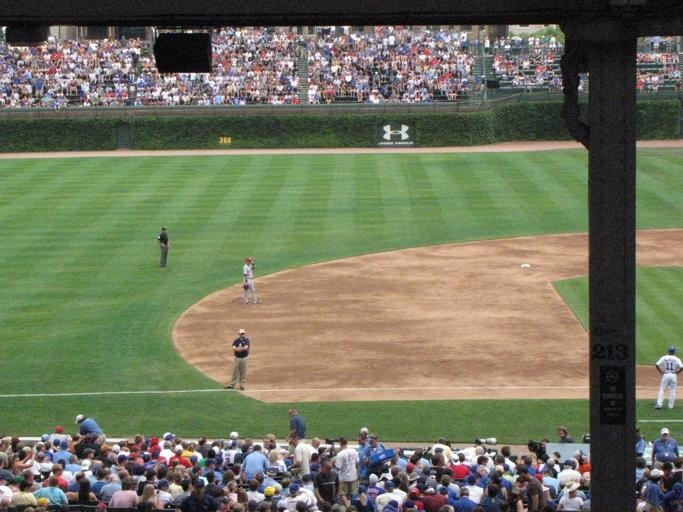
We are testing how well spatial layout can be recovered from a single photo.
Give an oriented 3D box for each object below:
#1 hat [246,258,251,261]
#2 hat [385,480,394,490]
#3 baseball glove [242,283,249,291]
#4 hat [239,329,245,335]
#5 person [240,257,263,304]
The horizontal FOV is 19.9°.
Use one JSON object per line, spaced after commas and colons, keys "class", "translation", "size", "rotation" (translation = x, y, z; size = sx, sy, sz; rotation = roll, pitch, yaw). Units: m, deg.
{"class": "hat", "translation": [-3.585, 0.129, 78.896], "size": [0.182, 0.073, 0.193], "rotation": [-1, 7, -3]}
{"class": "hat", "translation": [1.621, 7.291, 62.652], "size": [0.311, 0.388, 0.197], "rotation": [1, 18, -4]}
{"class": "baseball glove", "translation": [-3.709, 1.173, 78.344], "size": [0.225, 0.240, 0.254], "rotation": [-5, 27, -4]}
{"class": "hat", "translation": [-3.581, 2.801, 73.118], "size": [0.225, 0.092, 0.318], "rotation": [-1, 6, -11]}
{"class": "person", "translation": [-3.539, 1.063, 79.969], "size": [1.254, 2.280, 1.025], "rotation": [-2, 29, -3]}
